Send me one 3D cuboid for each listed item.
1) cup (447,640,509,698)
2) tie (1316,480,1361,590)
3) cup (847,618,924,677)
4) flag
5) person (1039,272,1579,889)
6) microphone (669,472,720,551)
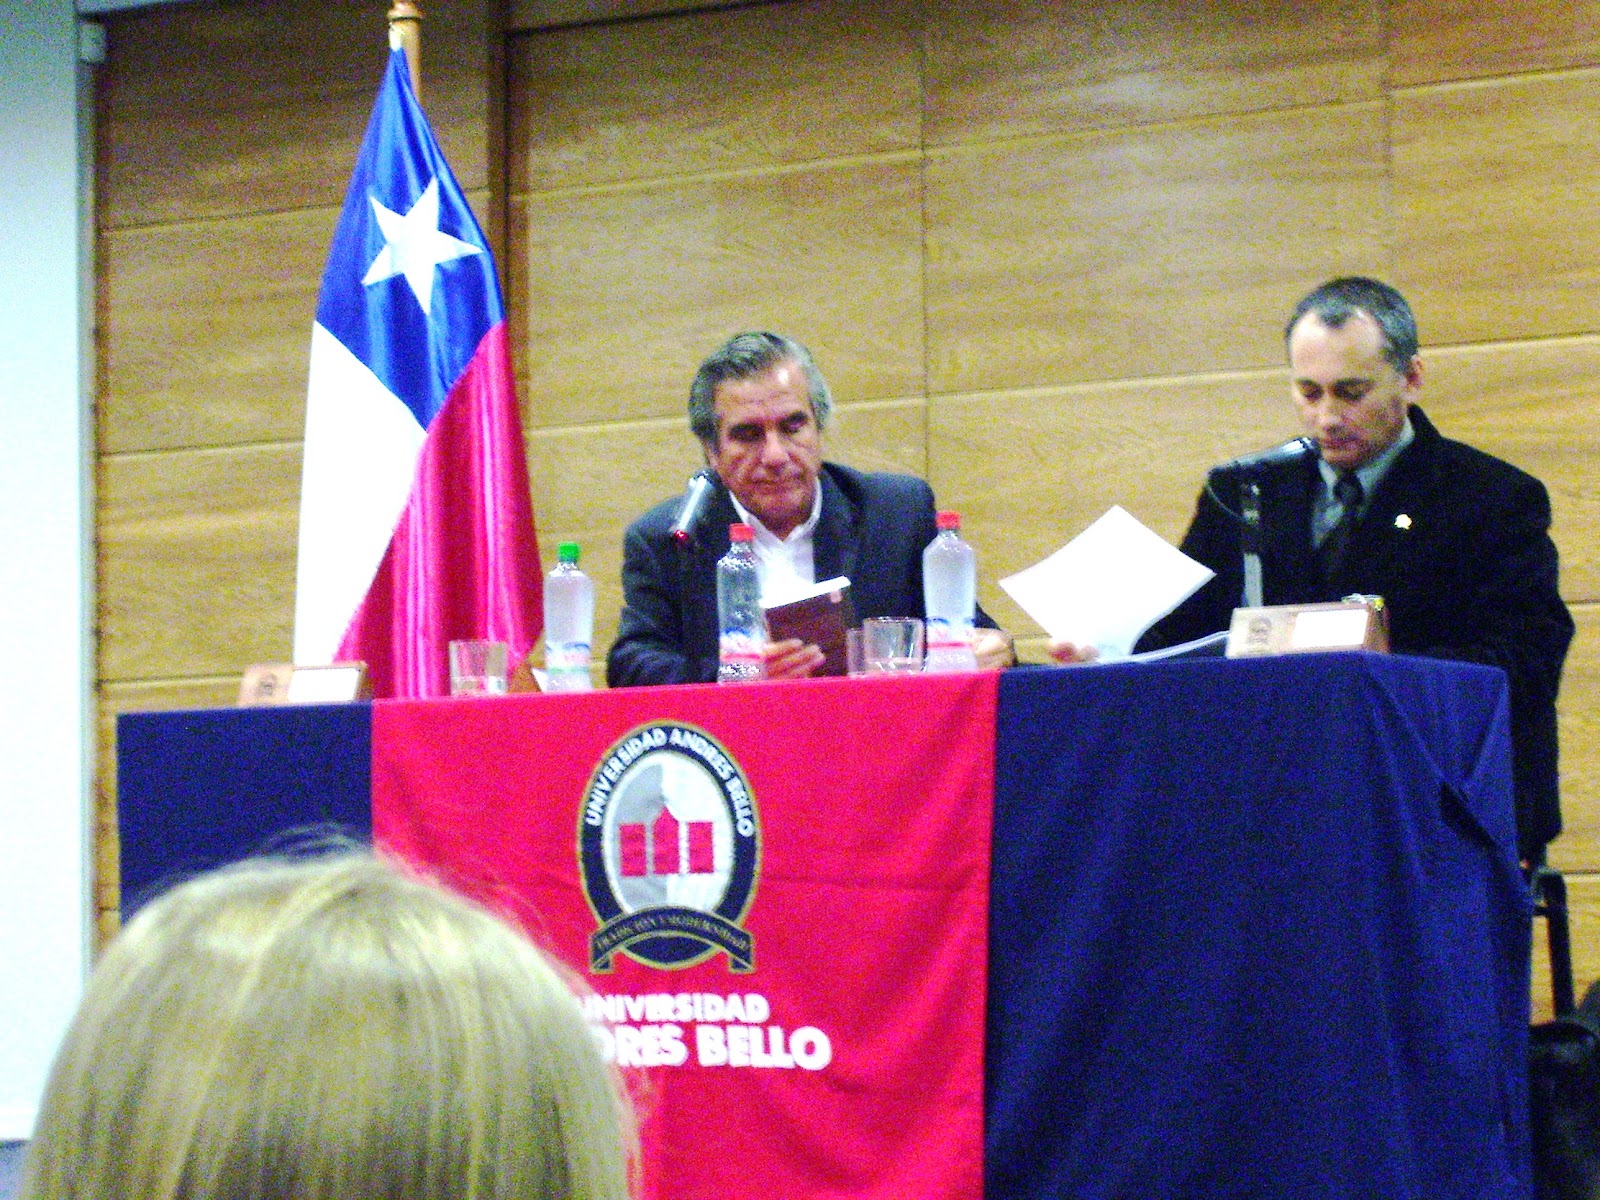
[{"bbox_3d":[-0.702,0.151,5.019,0.126,0.134,0.123,-1,-6,0],"label":"cup"},{"bbox_3d":[1.275,-0.162,5.463,0.046,0.217,0.153,8,3,-15],"label":"tie"},{"bbox_3d":[0.180,0.096,4.711,0.123,0.091,0.123,-1,-8,0],"label":"cup"},{"bbox_3d":[-0.968,-0.597,5.812,0.598,1.323,0.462,-2,-1,-10],"label":"flag"},{"bbox_3d":[1.252,0.114,5.526,1.092,1.672,0.981,5,10,33],"label":"person"},{"bbox_3d":[-0.239,-0.198,5.337,0.068,0.063,0.257,15,29,4],"label":"microphone"}]
